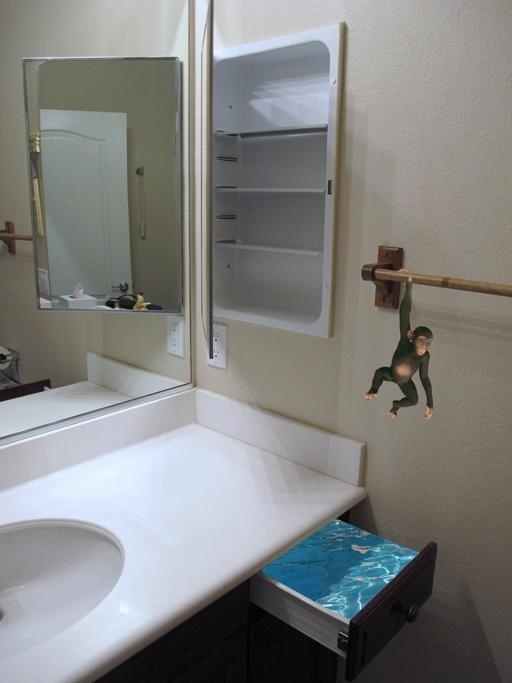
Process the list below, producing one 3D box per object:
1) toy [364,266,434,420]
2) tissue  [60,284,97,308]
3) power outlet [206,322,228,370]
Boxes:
[{"bbox_3d":[0.244,0.011,0.856,0.107,0.249,0.154,5,9,21],"label":"toy"},{"bbox_3d":[-0.412,-0.108,1.172,0.042,0.058,0.049,4,15,-5],"label":"tissue "},{"bbox_3d":[-0.108,0.015,1.410,0.057,0.130,0.008,9,21,17],"label":"power outlet"}]
